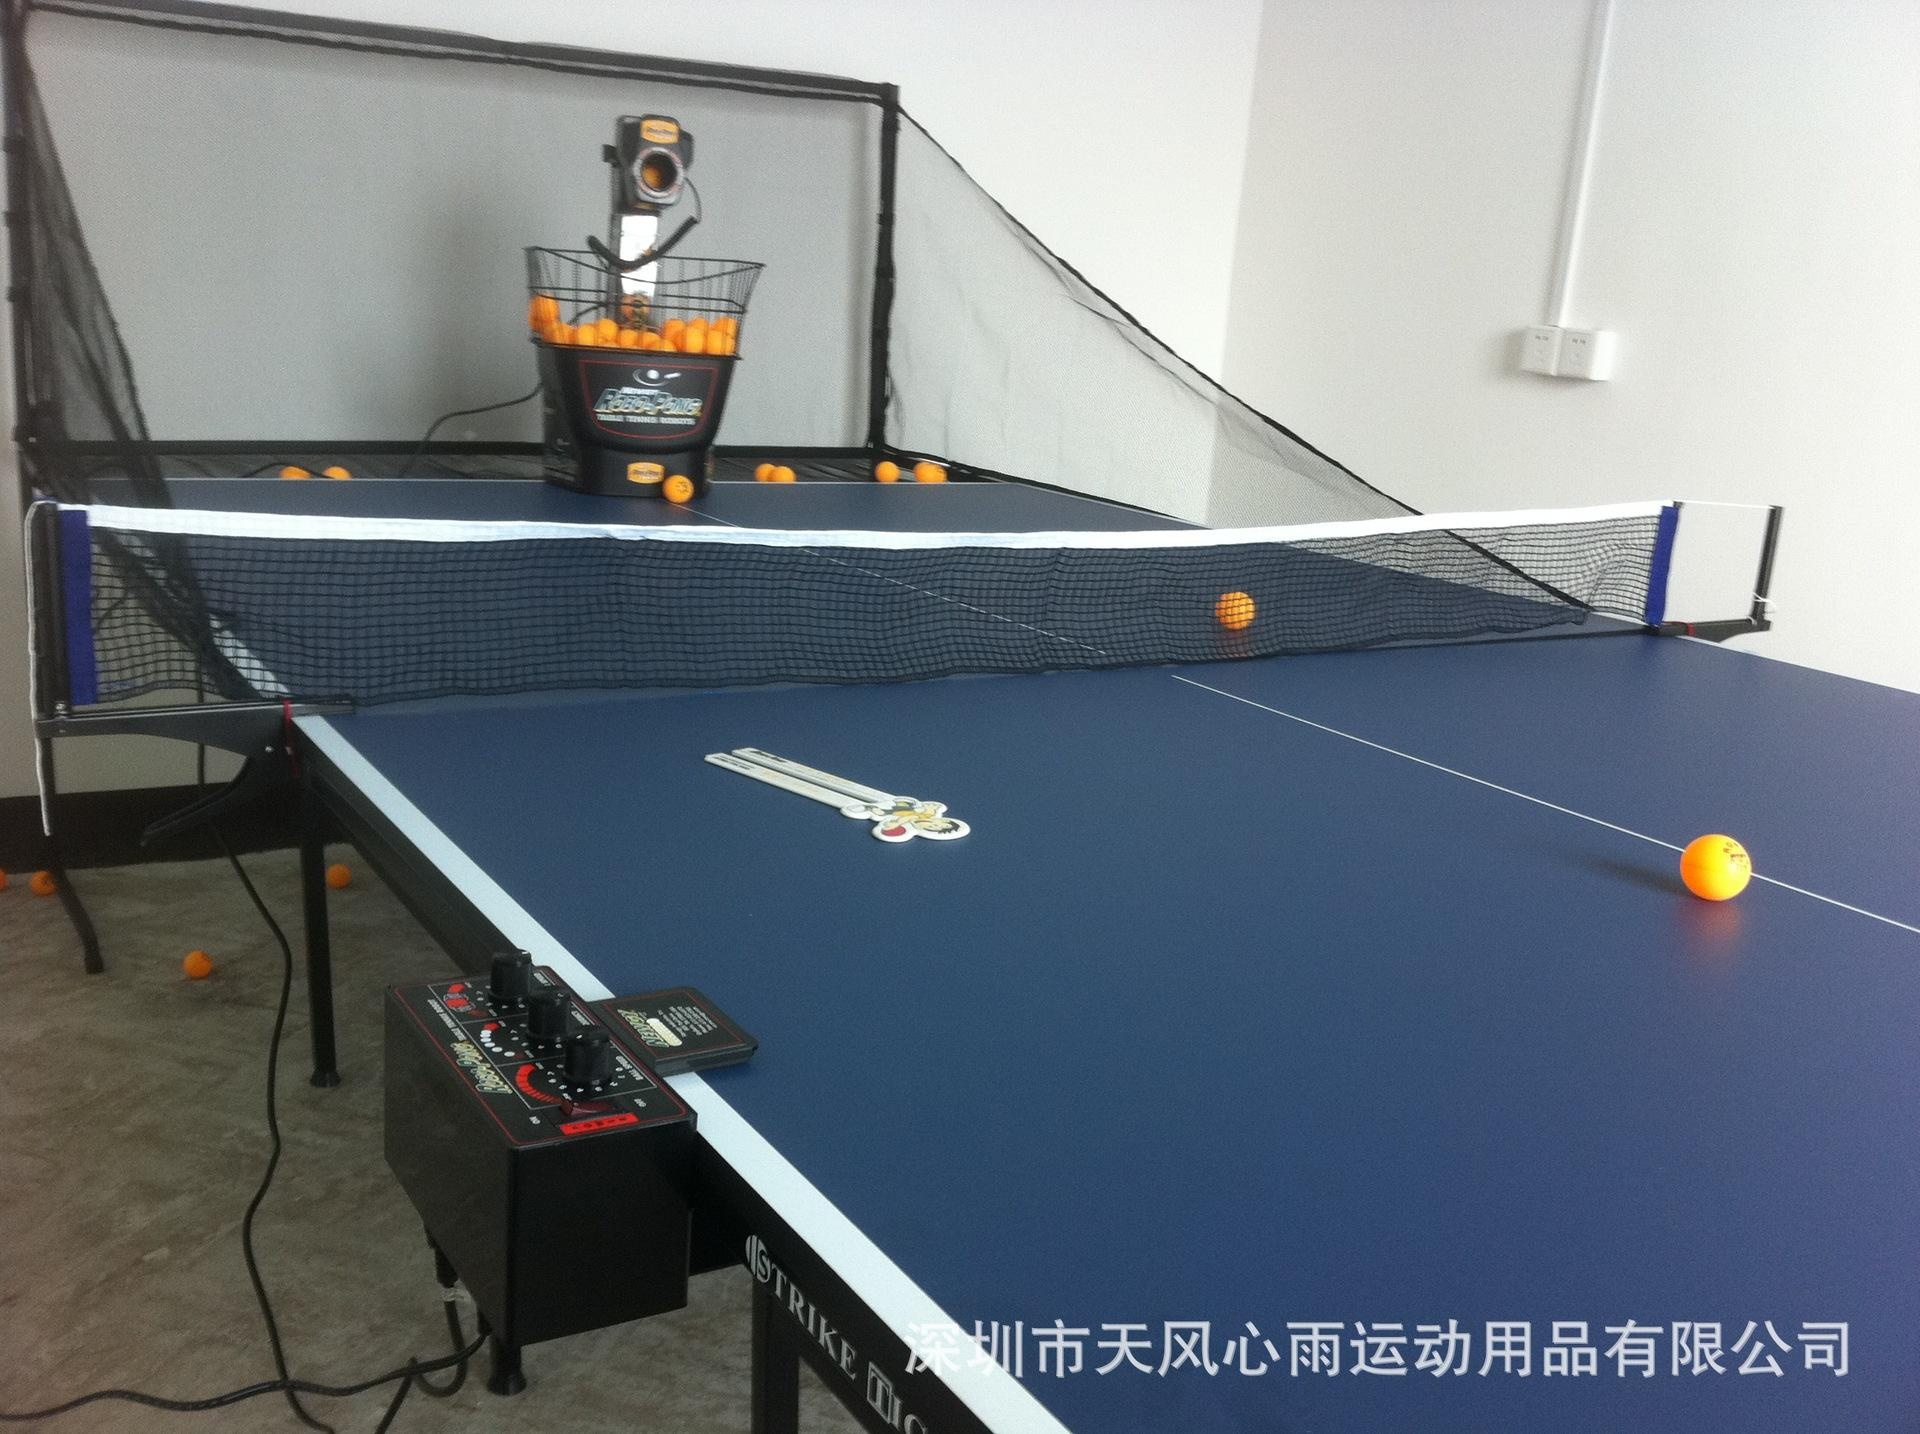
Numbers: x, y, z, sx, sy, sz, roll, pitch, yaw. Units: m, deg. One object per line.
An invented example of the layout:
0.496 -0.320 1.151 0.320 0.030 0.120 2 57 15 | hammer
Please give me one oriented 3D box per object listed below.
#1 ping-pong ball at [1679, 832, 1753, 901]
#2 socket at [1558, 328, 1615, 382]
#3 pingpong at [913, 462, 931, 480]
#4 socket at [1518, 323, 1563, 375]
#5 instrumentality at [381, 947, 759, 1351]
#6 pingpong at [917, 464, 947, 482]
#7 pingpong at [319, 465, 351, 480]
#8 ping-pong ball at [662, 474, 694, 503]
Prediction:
0.701 0.145 1.475 0.059 0.062 0.060 7 -10 1 | ping-pong ball
1.472 -0.844 3.668 0.060 0.107 0.110 -11 21 -35 | socket
-0.090 -0.582 3.752 0.058 0.031 0.058 -8 14 -31 | pingpong
1.400 -0.880 3.770 0.056 0.150 0.102 -8 21 -39 | socket
-0.292 0.278 1.086 0.143 0.184 0.268 -11 22 -34 | instrumentality
-0.071 -0.576 3.737 0.061 0.034 0.061 -5 10 -34 | pingpong
-1.292 -0.499 3.229 0.060 0.016 0.060 -2 16 -24 | pingpong
-0.558 -0.443 3.090 0.054 0.055 0.055 1 18 0 | ping-pong ball
